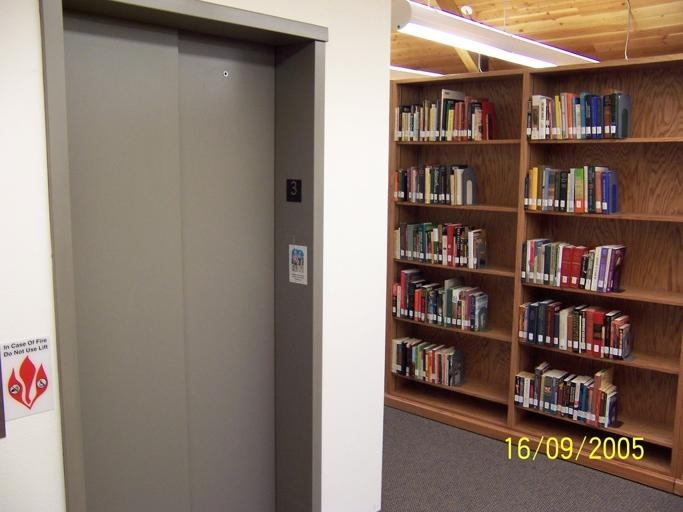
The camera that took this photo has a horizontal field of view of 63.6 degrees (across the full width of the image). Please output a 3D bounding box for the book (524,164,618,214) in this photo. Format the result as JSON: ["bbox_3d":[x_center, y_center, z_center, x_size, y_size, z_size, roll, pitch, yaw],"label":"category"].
[{"bbox_3d":[1.618,-0.476,3.947,0.581,0.318,0.144,9,13,38],"label":"book"}]
